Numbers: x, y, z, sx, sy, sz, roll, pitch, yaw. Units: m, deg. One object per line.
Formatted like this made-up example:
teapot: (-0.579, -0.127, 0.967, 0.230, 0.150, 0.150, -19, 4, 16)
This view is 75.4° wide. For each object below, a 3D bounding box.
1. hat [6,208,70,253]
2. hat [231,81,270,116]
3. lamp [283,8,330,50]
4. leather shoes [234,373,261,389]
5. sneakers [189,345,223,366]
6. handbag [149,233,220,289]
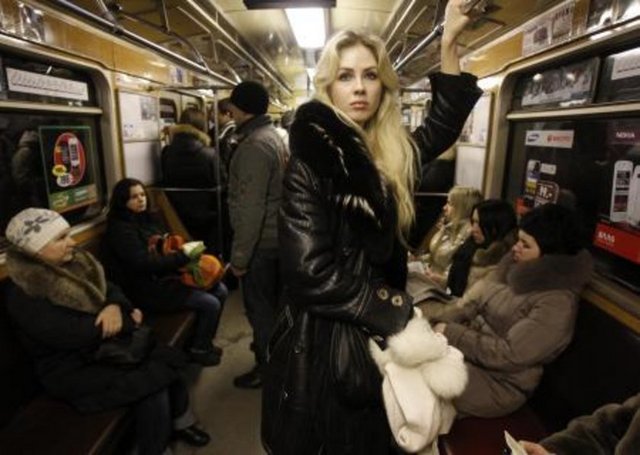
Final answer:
hat: (-1.891, 0.000, 2.860, 0.344, 0.292, 0.274, -7, 6, -22)
hat: (-0.665, -1.250, 4.061, 0.332, 0.245, 0.341, 20, 36, 4)
lamp: (-0.156, -2.473, 5.106, 0.396, 0.126, 0.842, -2, 1, -1)
leather shoes: (-0.672, 1.440, 3.861, 0.310, 0.130, 0.118, 5, -2, -4)
sneakers: (-1.118, 1.295, 4.096, 0.388, 0.175, 0.135, -2, 29, -17)
handbag: (-1.276, 0.319, 4.005, 0.665, 0.417, 0.257, 30, -4, -24)
